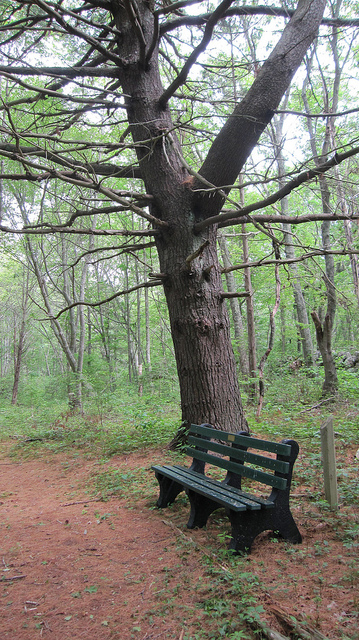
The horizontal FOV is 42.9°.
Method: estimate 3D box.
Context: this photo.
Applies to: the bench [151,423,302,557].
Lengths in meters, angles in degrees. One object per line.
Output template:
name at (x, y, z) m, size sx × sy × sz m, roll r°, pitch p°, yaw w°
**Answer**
bench at (0.332, 1.374, 3.898) m, size 0.578 × 0.769 × 1.366 m, roll 6°, pitch -6°, yaw -30°
